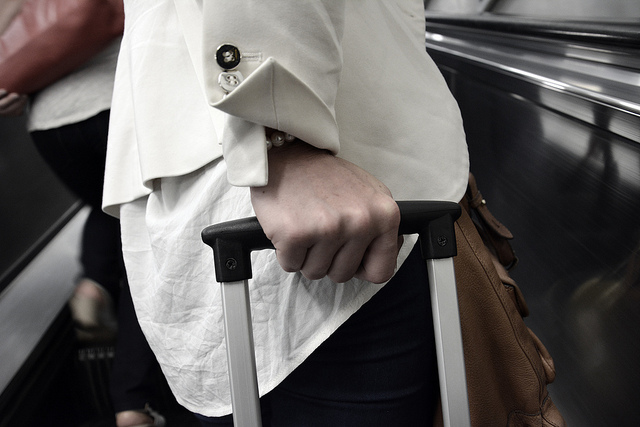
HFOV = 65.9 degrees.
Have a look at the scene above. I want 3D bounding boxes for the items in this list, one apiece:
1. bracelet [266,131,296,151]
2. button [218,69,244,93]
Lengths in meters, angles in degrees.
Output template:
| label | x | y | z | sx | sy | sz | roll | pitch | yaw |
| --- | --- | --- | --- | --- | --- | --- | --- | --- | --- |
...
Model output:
| label | x | y | z | sx | sy | sz | roll | pitch | yaw |
| --- | --- | --- | --- | --- | --- | --- | --- | --- | --- |
| bracelet | -0.069 | -0.130 | 0.877 | 0.051 | 0.033 | 0.023 | -3 | 34 | -8 |
| button | -0.150 | -0.226 | 0.831 | 0.042 | 0.032 | 0.021 | -8 | 35 | -15 |
